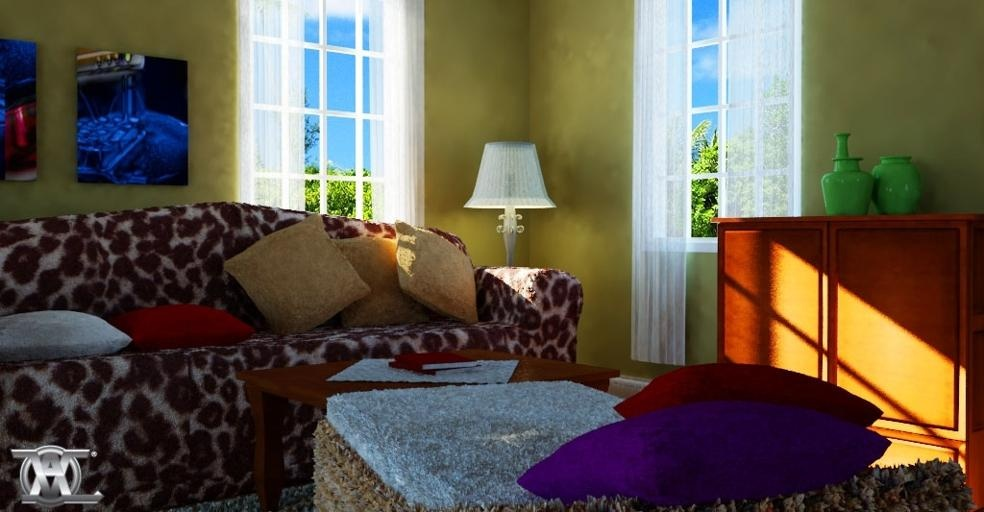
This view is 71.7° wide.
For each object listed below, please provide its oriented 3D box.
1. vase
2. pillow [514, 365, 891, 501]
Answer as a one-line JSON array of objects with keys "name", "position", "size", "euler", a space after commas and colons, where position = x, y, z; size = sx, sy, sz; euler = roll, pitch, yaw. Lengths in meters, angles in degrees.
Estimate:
[{"name": "vase", "position": [2.423, -0.528, 4.362], "size": [0.509, 0.514, 0.311], "euler": [-2, 9, -9]}, {"name": "pillow", "position": [0.760, 0.625, 2.444], "size": [1.292, 0.410, 0.349], "euler": [-2, 8, -7]}]
